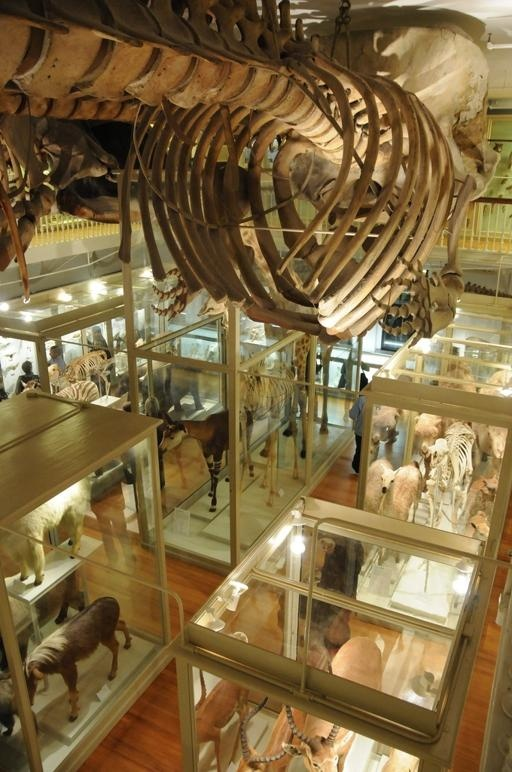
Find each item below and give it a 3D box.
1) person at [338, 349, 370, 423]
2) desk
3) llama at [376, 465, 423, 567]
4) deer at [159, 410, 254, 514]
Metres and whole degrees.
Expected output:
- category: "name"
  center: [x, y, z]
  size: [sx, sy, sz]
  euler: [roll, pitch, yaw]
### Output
- category: "person"
  center: [1.271, -0.110, 6.928]
  size: [0.360, 1.115, 0.347]
  euler: [5, 20, 18]
- category: "desk"
  center: [-1.050, 1.004, 2.668]
  size: [0.235, 0.394, 0.411]
  euler: [23, 39, 23]
- category: "llama"
  center: [1.197, 0.875, 4.374]
  size: [0.339, 0.501, 0.138]
  euler: [3, 19, 16]
- category: "deer"
  center: [-0.480, 0.611, 4.785]
  size: [0.634, 0.788, 0.541]
  euler: [0, 19, 8]
